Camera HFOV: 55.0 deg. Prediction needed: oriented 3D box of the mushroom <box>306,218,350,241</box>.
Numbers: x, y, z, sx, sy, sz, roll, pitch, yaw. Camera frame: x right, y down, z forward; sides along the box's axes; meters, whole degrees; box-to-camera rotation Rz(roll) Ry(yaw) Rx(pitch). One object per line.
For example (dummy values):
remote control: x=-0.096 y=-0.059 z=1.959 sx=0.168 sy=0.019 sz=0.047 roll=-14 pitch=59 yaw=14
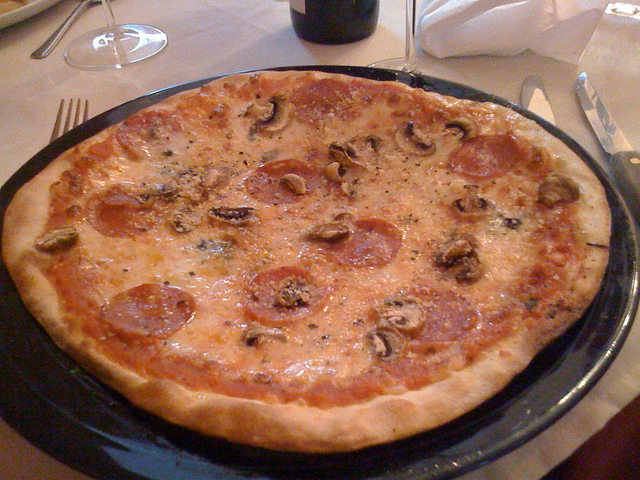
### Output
mushroom: x=0.031 y=-0.031 z=2.014 sx=0.131 sy=0.026 sz=0.061 roll=-16 pitch=44 yaw=-5

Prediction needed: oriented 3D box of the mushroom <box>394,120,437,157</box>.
mushroom: x=0.355 y=-0.372 z=2.262 sx=0.162 sy=0.040 sz=0.126 roll=15 pitch=61 yaw=12

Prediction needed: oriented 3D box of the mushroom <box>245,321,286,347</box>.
mushroom: x=-0.157 y=0.276 z=1.767 sx=0.106 sy=0.022 sz=0.078 roll=15 pitch=61 yaw=11

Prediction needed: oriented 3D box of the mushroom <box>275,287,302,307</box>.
mushroom: x=-0.101 y=0.169 z=1.849 sx=0.075 sy=0.019 sz=0.060 roll=39 pitch=68 yaw=22

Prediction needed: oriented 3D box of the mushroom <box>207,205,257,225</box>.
mushroom: x=-0.299 y=-0.088 z=2.066 sx=0.141 sy=0.020 sz=0.061 roll=4 pitch=54 yaw=-1

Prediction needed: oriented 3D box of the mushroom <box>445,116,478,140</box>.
mushroom: x=0.510 y=-0.399 z=2.224 sx=0.097 sy=0.025 sz=0.114 roll=-43 pitch=58 yaw=-15

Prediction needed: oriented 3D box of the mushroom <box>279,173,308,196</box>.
mushroom: x=-0.091 y=-0.205 z=2.174 sx=0.100 sy=0.023 sz=0.072 roll=39 pitch=62 yaw=22

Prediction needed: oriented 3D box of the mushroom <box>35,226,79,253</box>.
mushroom: x=-0.824 y=-0.002 z=1.930 sx=0.115 sy=0.023 sz=0.068 roll=-18 pitch=51 yaw=-17
